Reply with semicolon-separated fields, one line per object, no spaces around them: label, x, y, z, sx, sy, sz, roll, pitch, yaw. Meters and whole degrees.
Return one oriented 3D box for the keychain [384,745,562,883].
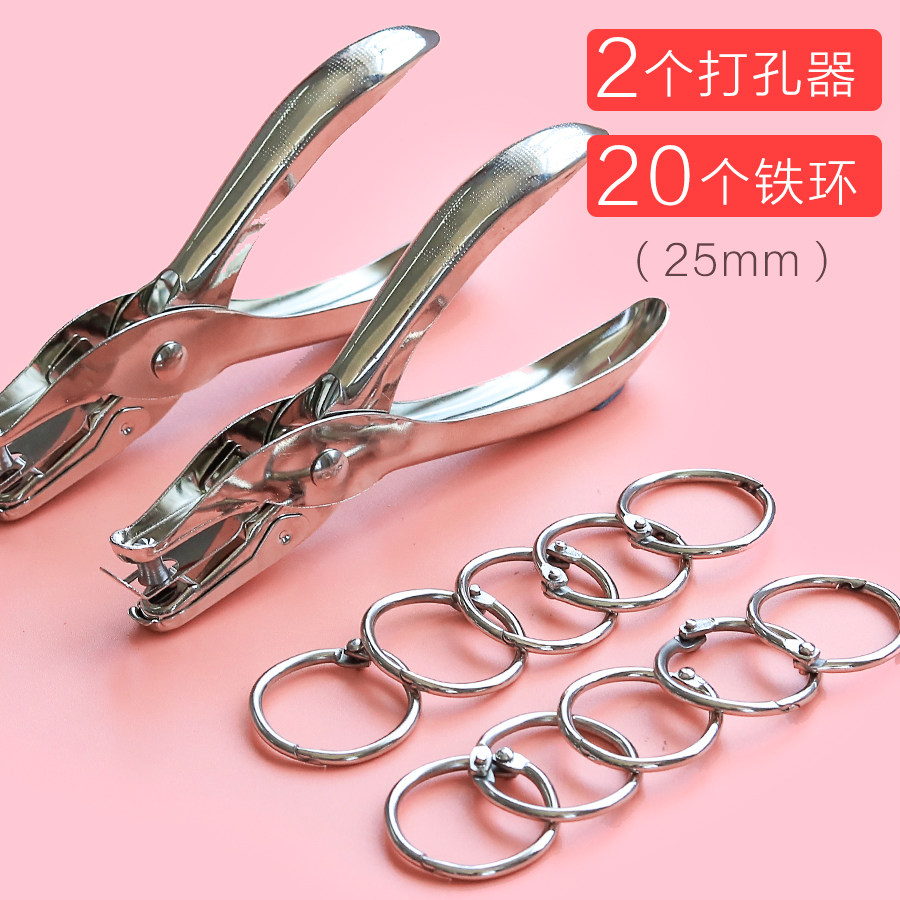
keychain;0.017;0.290;0.819;0.137;0.098;0.078;1;-30;-2
